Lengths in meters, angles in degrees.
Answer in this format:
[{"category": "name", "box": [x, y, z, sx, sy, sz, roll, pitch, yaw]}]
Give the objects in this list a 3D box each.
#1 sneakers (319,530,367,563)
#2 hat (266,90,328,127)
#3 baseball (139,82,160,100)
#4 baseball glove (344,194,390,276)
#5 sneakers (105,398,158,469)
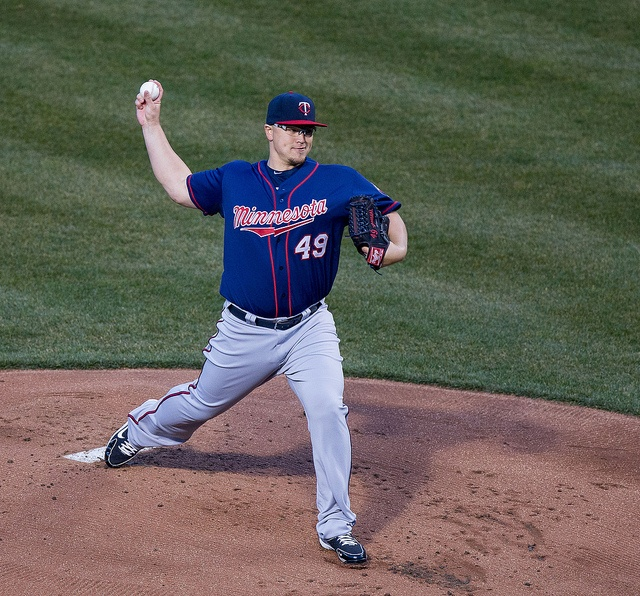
[{"category": "sneakers", "box": [0.170, 1.899, 9.127, 0.373, 0.155, 0.173, 14, 24, 37]}, {"category": "hat", "box": [-0.194, -1.485, 9.259, 0.283, 0.211, 0.409, -4, 7, -42]}, {"category": "baseball", "box": [-1.404, -1.699, 9.681, 0.164, 0.151, 0.165, -19, 28, -34]}, {"category": "baseball glove", "box": [0.374, -0.519, 9.060, 0.343, 0.530, 0.143, -18, -4, 20]}, {"category": "sneakers", "box": [-1.612, 1.183, 10.003, 0.589, 0.200, 0.239, -50, 27, -19]}]
